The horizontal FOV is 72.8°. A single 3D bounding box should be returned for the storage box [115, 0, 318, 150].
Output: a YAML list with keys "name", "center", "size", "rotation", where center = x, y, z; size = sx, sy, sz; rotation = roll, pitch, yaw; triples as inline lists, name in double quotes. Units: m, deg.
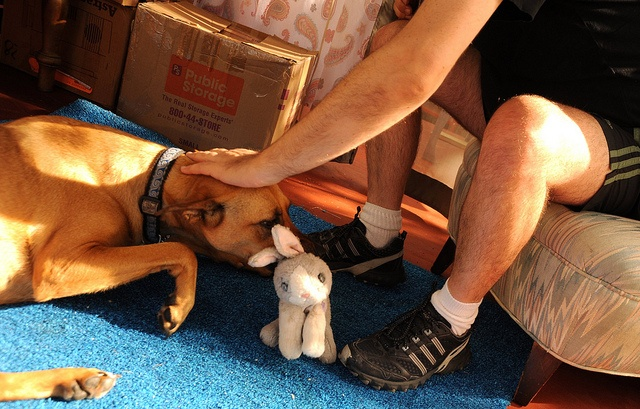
- name: "storage box"
  center: [-0.731, -0.835, 2.864]
  size: [1.174, 0.819, 0.639]
  rotation: [23, 22, 4]

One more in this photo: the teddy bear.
- name: "teddy bear"
  center: [-0.067, 0.368, 1.770]
  size: [0.317, 0.499, 0.383]
  rotation: [-12, 19, -37]
